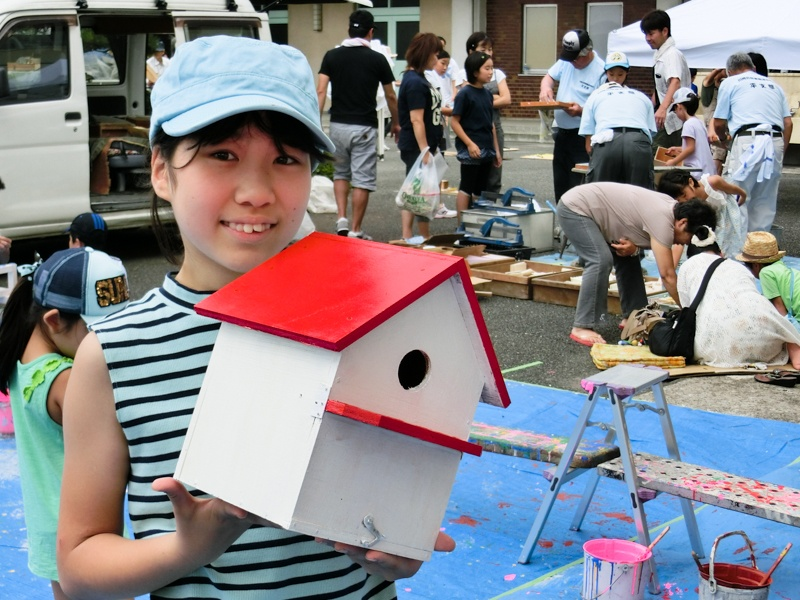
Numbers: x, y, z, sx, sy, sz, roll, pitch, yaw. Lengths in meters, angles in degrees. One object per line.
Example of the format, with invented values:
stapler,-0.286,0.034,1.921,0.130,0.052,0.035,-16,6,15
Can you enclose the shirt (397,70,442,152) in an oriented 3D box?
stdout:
shirt,0.205,-2.016,8.797,0.516,0.918,0.827,-7,30,-11

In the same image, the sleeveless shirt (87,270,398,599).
sleeveless shirt,-0.454,0.188,1.813,0.553,0.927,0.532,-4,15,-44

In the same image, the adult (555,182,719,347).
adult,1.985,-0.315,6.542,1.350,1.133,0.923,5,14,33

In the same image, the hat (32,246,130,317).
hat,-1.153,-0.023,3.016,0.364,0.206,0.263,2,30,-42

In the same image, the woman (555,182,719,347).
woman,1.772,-0.343,6.465,1.460,1.210,0.990,4,25,16

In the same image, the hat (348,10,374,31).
hat,-0.418,-2.993,8.731,0.252,0.270,0.276,-2,8,-4
